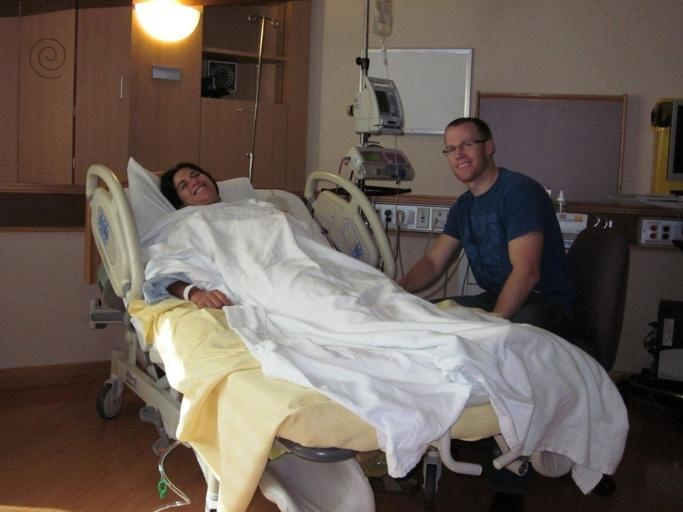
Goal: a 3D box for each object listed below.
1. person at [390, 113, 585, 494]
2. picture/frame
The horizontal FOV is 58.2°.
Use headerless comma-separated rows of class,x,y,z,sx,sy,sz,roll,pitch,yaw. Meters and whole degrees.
person,0.635,-0.124,2.974,0.817,1.135,0.961,-9,7,13
picture/frame,1.567,-0.812,4.427,0.989,0.897,0.108,0,2,3
